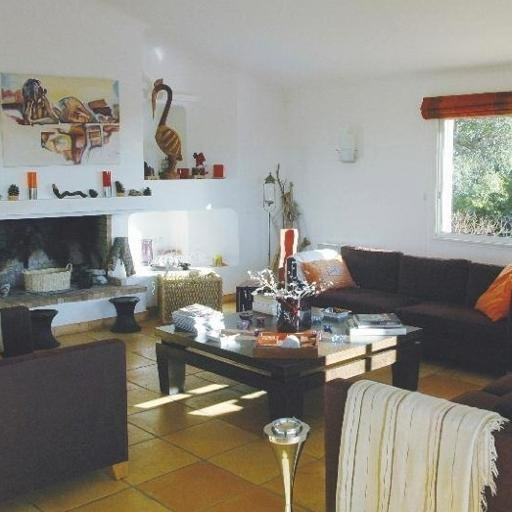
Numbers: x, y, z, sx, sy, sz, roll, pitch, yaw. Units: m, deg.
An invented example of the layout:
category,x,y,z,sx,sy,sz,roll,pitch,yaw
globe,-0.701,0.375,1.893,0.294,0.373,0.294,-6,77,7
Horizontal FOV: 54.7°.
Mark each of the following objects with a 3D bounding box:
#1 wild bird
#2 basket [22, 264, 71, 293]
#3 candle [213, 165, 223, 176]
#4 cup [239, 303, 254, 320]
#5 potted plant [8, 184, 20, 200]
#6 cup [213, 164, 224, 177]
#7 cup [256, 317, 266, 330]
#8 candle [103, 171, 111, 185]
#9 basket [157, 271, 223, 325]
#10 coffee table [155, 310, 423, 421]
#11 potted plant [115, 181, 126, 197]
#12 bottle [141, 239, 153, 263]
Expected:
category,x,y,z,sx,sy,sz,roll,pitch,yaw
wild bird,-1.127,-1.599,6.279,0.366,1.230,0.595,-2,7,-10
basket,-2.228,0.249,5.309,0.422,0.196,0.280,-1,3,-44
candle,-0.505,-1.144,6.671,0.125,0.177,0.086,-1,7,-8
cup,-0.080,0.501,4.470,0.150,0.095,0.207,-3,7,-20
potted plant,-2.380,-0.635,4.901,0.110,0.154,0.092,-5,9,-35
cup,-0.497,-1.135,6.658,0.215,0.194,0.149,2,12,7
cup,0.043,0.527,3.806,0.077,0.076,0.072,2,3,0
candle,-1.629,-0.852,5.434,0.089,0.160,0.065,-3,8,-17
basket,-0.787,0.424,6.093,1.022,0.638,0.589,-1,2,-28
coffee table,0.426,0.687,3.381,1.013,0.323,1.006,-3,6,-41
potted plant,-1.521,-0.757,5.594,0.113,0.174,0.169,-2,7,-14
bottle,-1.437,-0.044,6.566,0.152,0.319,0.057,-3,8,-17
